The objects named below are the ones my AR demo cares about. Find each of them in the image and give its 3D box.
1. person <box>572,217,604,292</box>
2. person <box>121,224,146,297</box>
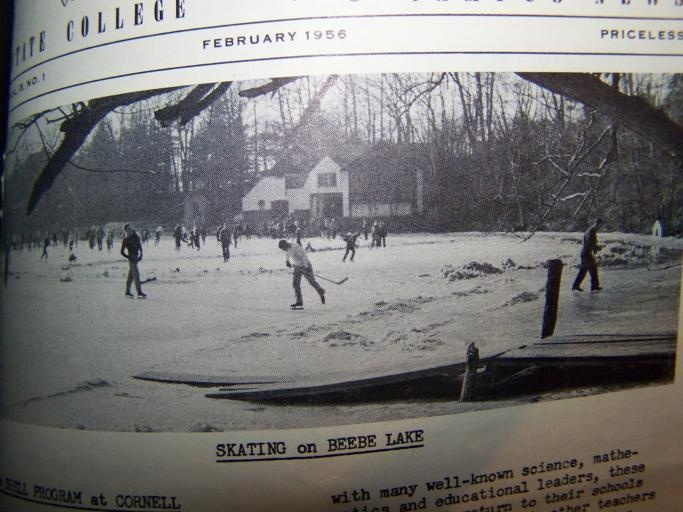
[{"bbox_3d":[3.515,-0.030,10.313,0.511,1.032,0.151,0,1,-18],"label":"person"},{"bbox_3d":[-2.900,0.058,10.103,0.429,0.996,0.214,1,1,27],"label":"person"}]
